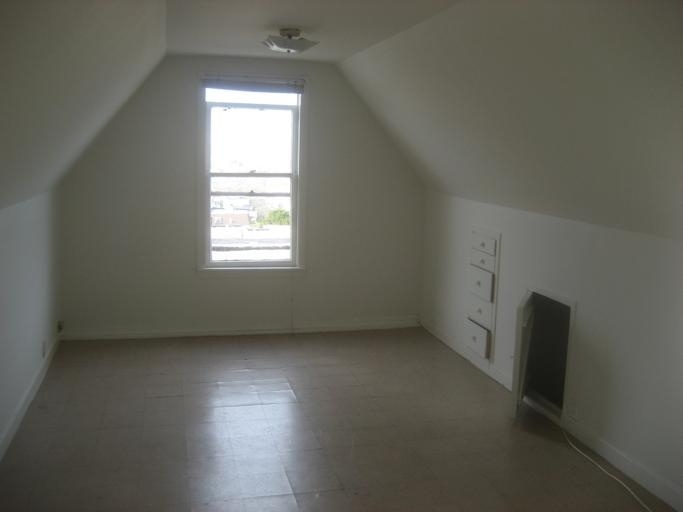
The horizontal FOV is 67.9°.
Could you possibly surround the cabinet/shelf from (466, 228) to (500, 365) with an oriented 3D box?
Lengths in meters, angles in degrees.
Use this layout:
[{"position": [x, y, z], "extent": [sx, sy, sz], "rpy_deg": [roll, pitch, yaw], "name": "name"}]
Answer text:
[{"position": [0.764, 0.205, 2.804], "extent": [0.085, 0.715, 0.290], "rpy_deg": [-1, 9, -14], "name": "cabinet/shelf"}]
